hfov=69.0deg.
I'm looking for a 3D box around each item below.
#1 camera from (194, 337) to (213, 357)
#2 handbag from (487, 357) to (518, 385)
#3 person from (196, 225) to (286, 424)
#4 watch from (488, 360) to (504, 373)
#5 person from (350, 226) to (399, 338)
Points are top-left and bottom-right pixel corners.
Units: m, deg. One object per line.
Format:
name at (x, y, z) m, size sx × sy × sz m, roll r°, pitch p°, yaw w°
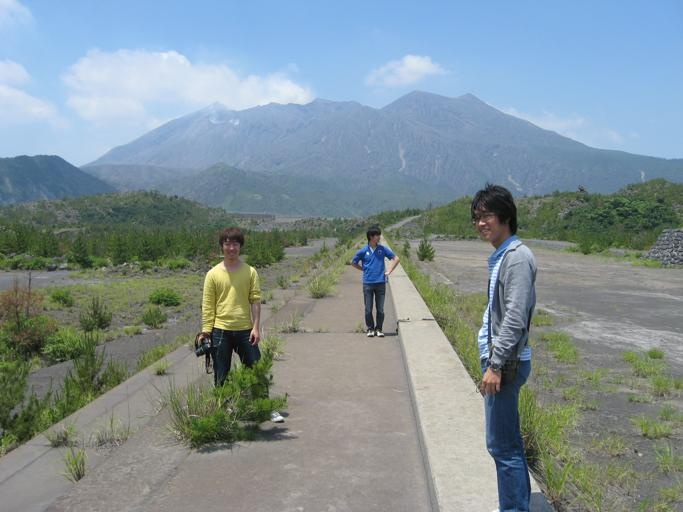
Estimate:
camera at (-1.815, 1.211, 6.544) m, size 0.212 × 0.227 × 0.100 m, roll -19°, pitch -30°, yaw -2°
handbag at (1.465, 1.039, 4.504) m, size 0.123 × 0.284 × 0.196 m, roll 8°, pitch 12°, yaw -6°
person at (-1.353, 1.010, 6.763) m, size 1.009 × 2.791 × 0.709 m, roll -2°, pitch 14°, yaw -9°
watch at (1.368, 0.986, 4.406) m, size 0.093 × 0.079 × 0.042 m, roll -17°, pitch 31°, yaw 52°
person at (0.797, 0.570, 11.678) m, size 0.949 × 2.524 × 1.537 m, roll -1°, pitch 6°, yaw 6°
